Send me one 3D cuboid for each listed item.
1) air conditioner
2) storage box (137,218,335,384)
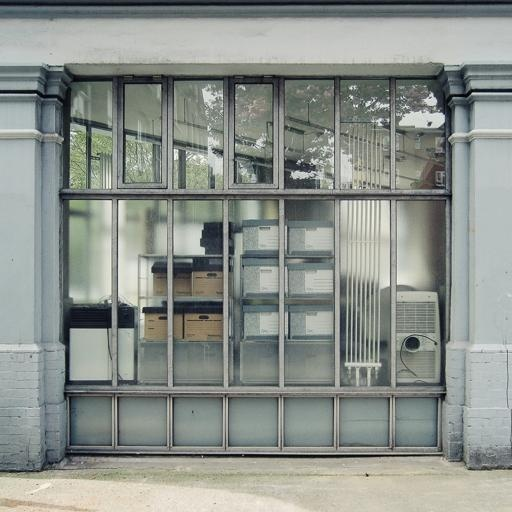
[{"bbox_3d":[2.075,1.017,17.604,0.551,1.135,0.339,1,1,0],"label":"air conditioner"},{"bbox_3d":[-0.626,0.584,16.873,2.209,2.048,0.919,1,-1,4],"label":"storage box"}]
